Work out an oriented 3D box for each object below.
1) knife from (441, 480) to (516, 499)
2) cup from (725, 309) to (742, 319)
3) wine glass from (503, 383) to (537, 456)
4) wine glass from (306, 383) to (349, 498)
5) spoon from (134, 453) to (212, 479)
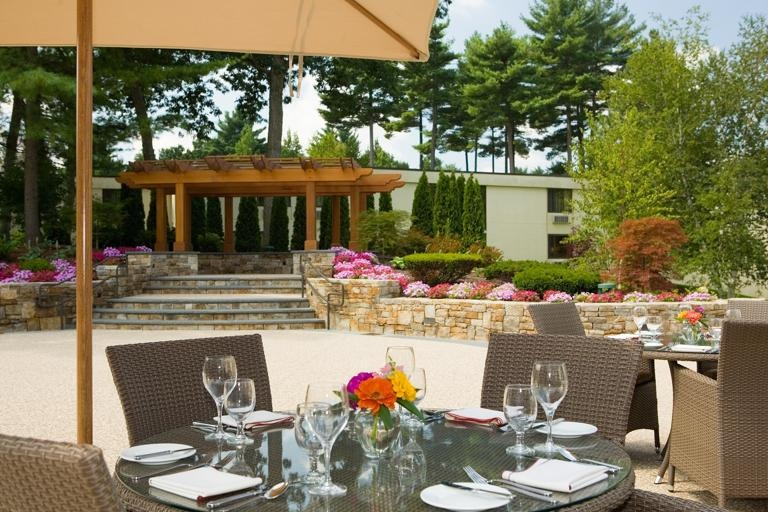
[{"bbox_3d":[0.632,1.554,5.264,0.582,0.070,0.082,1,8,23],"label":"knife"},{"bbox_3d":[3.573,0.588,8.087,0.120,0.080,0.123,-2,-3,0],"label":"cup"},{"bbox_3d":[0.965,1.160,5.683,0.227,0.483,0.254,-1,1,-3],"label":"wine glass"},{"bbox_3d":[-0.365,1.222,5.300,0.248,0.726,0.247,0,2,41],"label":"wine glass"},{"bbox_3d":[-1.468,1.461,5.502,0.532,0.115,0.142,-1,1,-14],"label":"spoon"}]
